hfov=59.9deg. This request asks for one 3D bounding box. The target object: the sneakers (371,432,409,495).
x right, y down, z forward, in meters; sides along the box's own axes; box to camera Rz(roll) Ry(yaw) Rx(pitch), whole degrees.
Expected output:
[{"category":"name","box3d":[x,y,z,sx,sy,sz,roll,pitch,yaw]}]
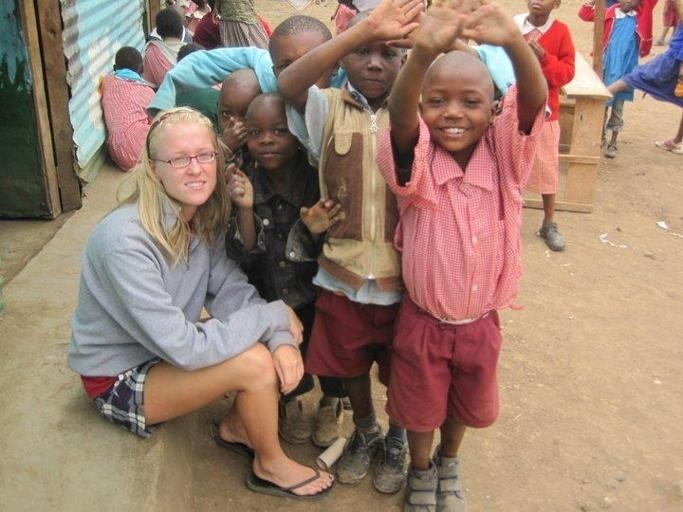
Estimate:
[{"category":"sneakers","box3d":[0.249,1.082,3.064,0.137,0.132,0.354,6,39,4]}]

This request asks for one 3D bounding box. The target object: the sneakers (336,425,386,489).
[{"category":"sneakers","box3d":[0.104,1.011,3.147,0.145,0.172,0.398,19,42,17]}]

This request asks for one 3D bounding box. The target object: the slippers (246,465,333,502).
[{"category":"slippers","box3d":[-0.281,1.137,2.953,0.300,0.077,0.168,5,23,-1]}]

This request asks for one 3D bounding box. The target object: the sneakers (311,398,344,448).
[{"category":"sneakers","box3d":[-0.089,0.947,3.329,0.117,0.122,0.302,3,24,4]}]

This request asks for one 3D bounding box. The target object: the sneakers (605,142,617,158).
[{"category":"sneakers","box3d":[3.645,-1.436,8.001,0.124,0.134,0.338,8,22,22]}]

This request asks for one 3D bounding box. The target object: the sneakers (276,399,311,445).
[{"category":"sneakers","box3d":[-0.274,0.935,3.357,0.127,0.115,0.273,-13,35,-21]}]

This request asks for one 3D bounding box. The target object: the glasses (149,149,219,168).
[{"category":"glasses","box3d":[-0.705,-0.443,2.704,0.303,0.061,0.106,-12,25,-22]}]
